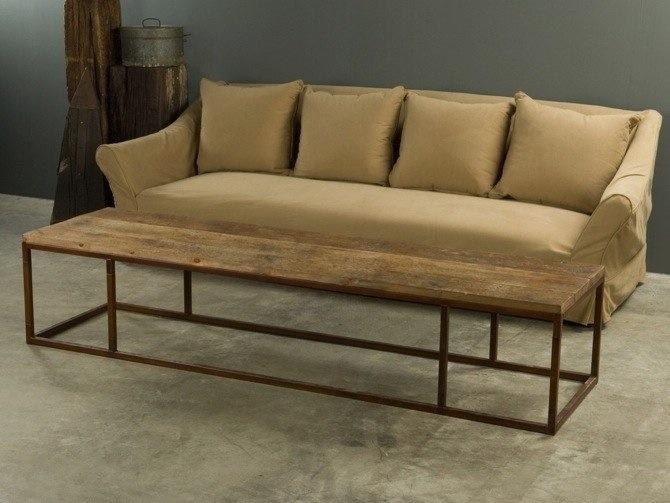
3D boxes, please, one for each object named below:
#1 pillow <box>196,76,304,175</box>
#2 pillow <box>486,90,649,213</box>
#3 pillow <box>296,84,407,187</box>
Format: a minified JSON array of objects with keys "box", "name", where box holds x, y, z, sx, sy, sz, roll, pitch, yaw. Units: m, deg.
[{"box":[-0.555,-0.806,4.027,0.935,0.618,0.285,3,-4,16],"name":"pillow"},{"box":[1.263,-0.528,3.368,0.887,0.576,0.402,12,24,25],"name":"pillow"},{"box":[0.115,-0.704,3.815,0.820,0.522,0.300,7,22,16],"name":"pillow"}]
